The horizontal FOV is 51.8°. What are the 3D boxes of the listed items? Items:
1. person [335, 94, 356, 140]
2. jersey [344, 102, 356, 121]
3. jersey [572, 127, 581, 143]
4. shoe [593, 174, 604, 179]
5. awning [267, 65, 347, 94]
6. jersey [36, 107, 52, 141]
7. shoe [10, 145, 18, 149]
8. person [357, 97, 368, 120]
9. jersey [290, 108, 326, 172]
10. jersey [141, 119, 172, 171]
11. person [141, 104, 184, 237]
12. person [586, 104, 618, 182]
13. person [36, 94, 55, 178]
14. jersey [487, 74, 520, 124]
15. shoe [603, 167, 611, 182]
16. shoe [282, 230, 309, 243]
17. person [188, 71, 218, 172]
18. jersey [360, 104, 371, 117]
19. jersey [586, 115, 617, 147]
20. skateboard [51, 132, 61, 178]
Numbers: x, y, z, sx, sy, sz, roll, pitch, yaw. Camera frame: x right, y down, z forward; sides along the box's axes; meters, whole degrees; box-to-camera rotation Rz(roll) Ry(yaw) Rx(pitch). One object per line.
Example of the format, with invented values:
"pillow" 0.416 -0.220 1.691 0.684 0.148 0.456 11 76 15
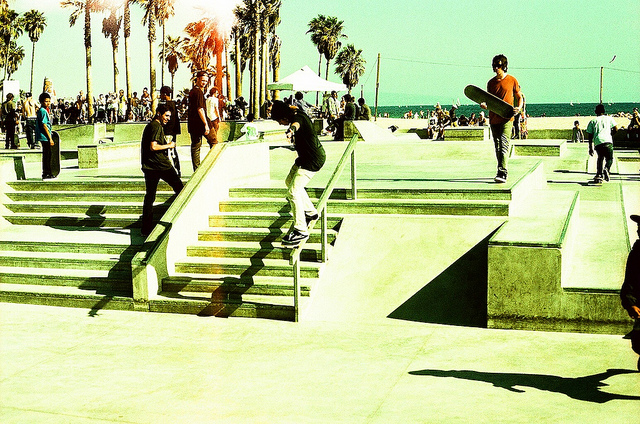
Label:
"person" 0.931 -3.595 24.934 0.808 1.684 1.376 -1 7 2
"jersey" 1.110 -3.811 24.892 0.384 0.632 0.600 -1 7 1
"jersey" 11.350 -3.420 29.230 0.318 0.581 0.907 1 8 21
"shoe" 6.663 -0.844 15.822 0.149 0.079 0.201 -4 5 -42
"awning" -0.790 -5.850 29.010 2.599 1.248 2.260 0 7 7
"jersey" -6.203 -1.980 14.709 0.406 0.767 0.705 -3 8 -28
"shoe" -11.051 -2.345 23.734 0.230 0.168 0.246 0 6 6
"person" 1.602 -3.931 25.620 0.365 0.665 0.832 0 7 10
"jersey" -0.204 -1.089 10.036 0.503 0.977 0.586 -1 7 -2
"jersey" -2.890 -1.225 11.963 0.683 1.121 1.036 0 14 -14
"person" -2.828 -0.725 11.647 0.729 2.328 0.894 -3 7 -13
"person" 6.776 -1.681 15.768 0.700 1.856 0.796 -2 1 -5
"person" -6.075 -1.700 14.538 0.358 1.825 1.310 -4 7 -23
"jersey" 3.311 -2.053 12.009 0.544 0.883 0.500 1 7 15
"shoe" 7.109 -0.929 16.409 0.131 0.399 0.172 -8 15 27
"shoe" -0.388 0.377 10.059 0.387 0.168 0.177 1 7 11
"person" -2.498 -1.944 13.866 0.576 2.028 0.981 -2 7 -11
"jersey" 1.736 -3.970 25.972 0.378 0.455 0.931 -1 7 3
"jersey" 6.630 -1.938 15.682 0.617 0.725 0.524 0 7 13
"skateboard" -5.748 -1.248 14.306 0.256 1.037 0.173 4 -20 -21
